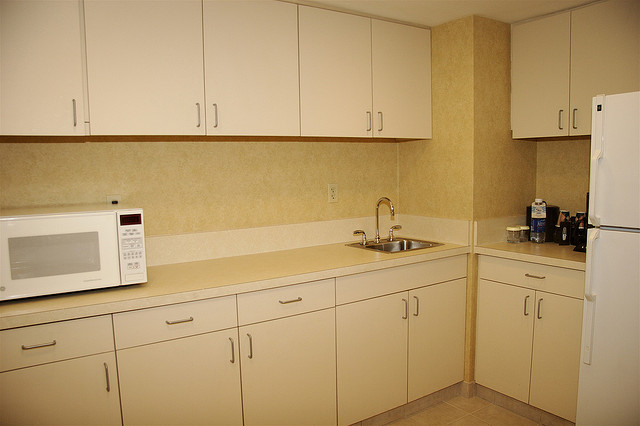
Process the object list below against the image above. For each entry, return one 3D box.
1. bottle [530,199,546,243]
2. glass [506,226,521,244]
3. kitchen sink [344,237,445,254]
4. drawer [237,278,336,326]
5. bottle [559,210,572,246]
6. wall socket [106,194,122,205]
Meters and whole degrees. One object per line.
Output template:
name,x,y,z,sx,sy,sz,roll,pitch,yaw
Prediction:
bottle,1.649,0.059,3.598,0.095,0.329,0.045,1,8,20
glass,1.487,0.166,3.649,0.098,0.124,0.112,1,7,20
kitchen sink,0.574,0.262,3.654,0.705,0.086,0.329,-3,6,-14
drawer,-0.267,0.486,2.995,0.572,0.240,0.452,-3,11,-36
bottle,1.822,0.113,3.527,0.083,0.247,0.104,1,8,22
wall socket,-1.323,-0.086,3.039,0.074,0.065,0.033,-2,6,-31
